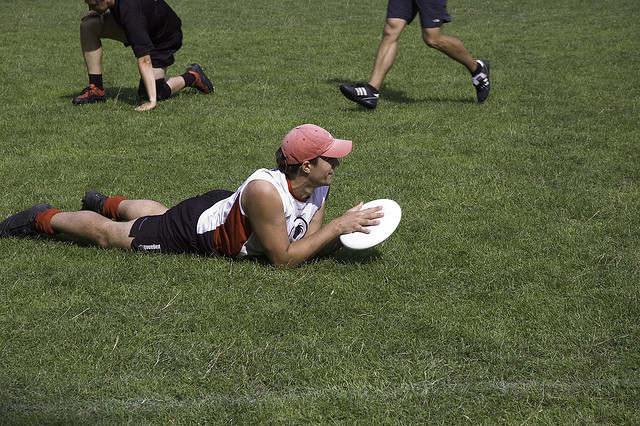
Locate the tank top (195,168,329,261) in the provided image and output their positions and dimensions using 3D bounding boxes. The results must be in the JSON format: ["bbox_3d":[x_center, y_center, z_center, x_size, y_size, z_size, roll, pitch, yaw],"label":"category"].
[{"bbox_3d":[-0.633,0.088,9.085,1.195,0.505,0.986,-22,-10,24],"label":"tank top"}]

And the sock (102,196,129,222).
[{"bbox_3d":[-2.269,-0.048,9.510,0.259,0.180,0.213,7,20,17],"label":"sock"}]

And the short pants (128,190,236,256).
[{"bbox_3d":[-1.542,0.130,9.148,0.867,0.318,0.528,-8,-6,3],"label":"short pants"}]

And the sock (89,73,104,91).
[{"bbox_3d":[-3.275,-1.907,12.652,0.176,0.245,0.170,-6,30,-16],"label":"sock"}]

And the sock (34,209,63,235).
[{"bbox_3d":[-2.911,0.125,9.264,0.261,0.270,0.207,-4,29,-11],"label":"sock"}]
